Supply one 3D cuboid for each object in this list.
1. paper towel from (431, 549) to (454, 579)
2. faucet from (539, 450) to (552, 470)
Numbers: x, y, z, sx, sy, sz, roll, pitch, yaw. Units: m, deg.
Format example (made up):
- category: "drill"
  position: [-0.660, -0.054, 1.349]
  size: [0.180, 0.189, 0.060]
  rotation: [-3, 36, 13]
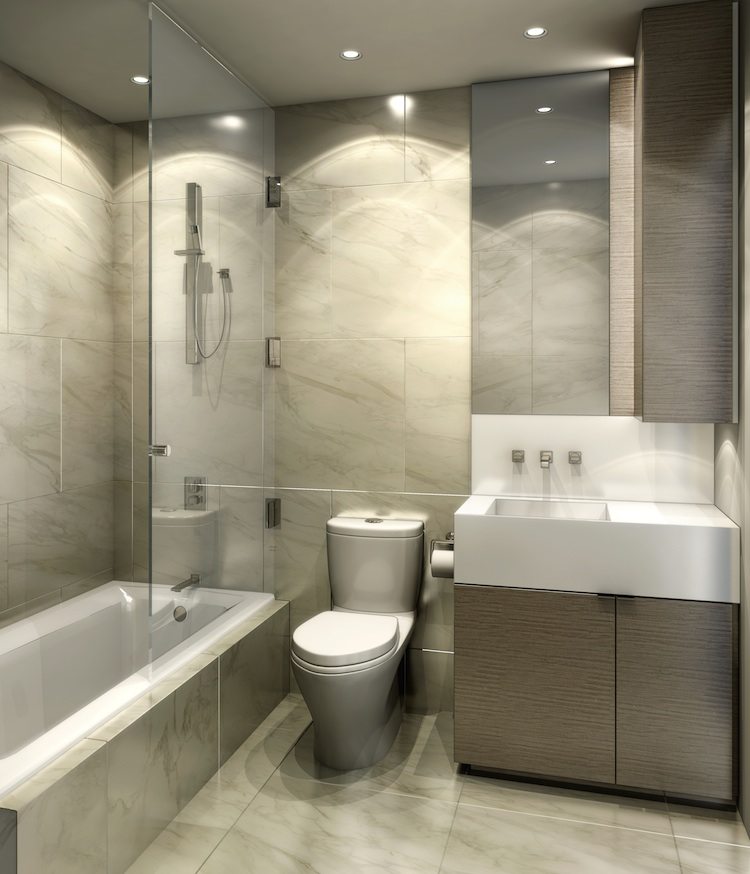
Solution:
- category: "paper towel"
  position: [0.231, 0.438, 2.723]
  size: [0.105, 0.102, 0.091]
  rotation: [2, -9, 4]
- category: "faucet"
  position: [0.622, 0.078, 2.825]
  size: [0.057, 0.090, 0.056]
  rotation: [0, -3, 11]
